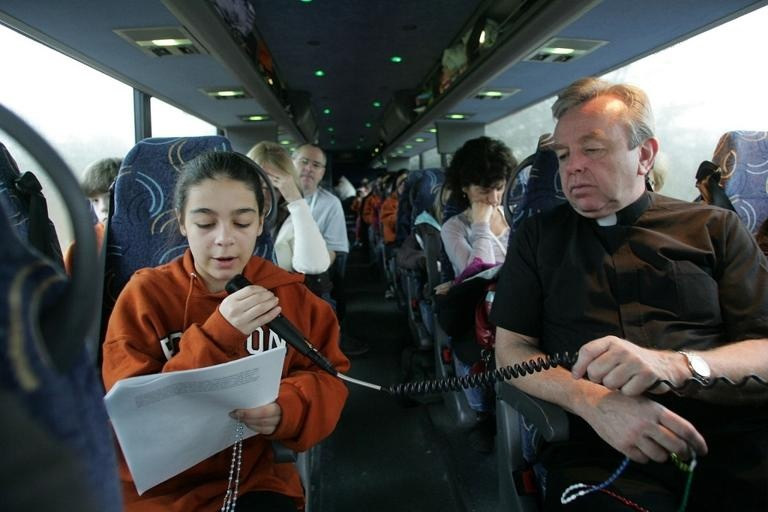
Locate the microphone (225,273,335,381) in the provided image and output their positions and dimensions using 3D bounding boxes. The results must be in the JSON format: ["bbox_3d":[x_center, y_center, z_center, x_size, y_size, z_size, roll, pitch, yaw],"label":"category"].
[{"bbox_3d":[-0.466,0.326,2.503,0.623,0.099,0.095,42,-6,5],"label":"microphone"}]
